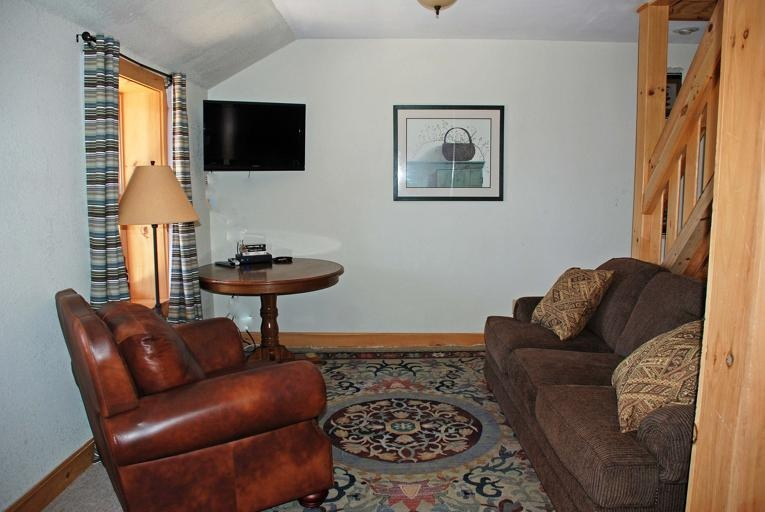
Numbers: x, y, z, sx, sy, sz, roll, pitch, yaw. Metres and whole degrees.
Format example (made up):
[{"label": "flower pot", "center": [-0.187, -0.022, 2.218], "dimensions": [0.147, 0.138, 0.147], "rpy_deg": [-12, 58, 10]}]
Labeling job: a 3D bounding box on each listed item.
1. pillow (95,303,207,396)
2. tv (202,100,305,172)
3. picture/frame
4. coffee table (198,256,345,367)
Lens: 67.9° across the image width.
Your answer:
[{"label": "pillow", "center": [-1.241, 0.481, 3.058], "dimensions": [0.389, 0.375, 0.524], "rpy_deg": [-13, 19, -40]}, {"label": "tv", "center": [-1.198, -1.087, 5.144], "dimensions": [0.722, 0.469, 0.072], "rpy_deg": [-1, 5, -24]}, {"label": "picture/frame", "center": [0.650, -0.991, 5.523], "dimensions": [1.085, 0.892, 0.036], "rpy_deg": [5, 13, 25]}, {"label": "coffee table", "center": [-0.898, 0.441, 4.557], "dimensions": [0.966, 0.616, 0.946], "rpy_deg": [-2, 11, -7]}]
